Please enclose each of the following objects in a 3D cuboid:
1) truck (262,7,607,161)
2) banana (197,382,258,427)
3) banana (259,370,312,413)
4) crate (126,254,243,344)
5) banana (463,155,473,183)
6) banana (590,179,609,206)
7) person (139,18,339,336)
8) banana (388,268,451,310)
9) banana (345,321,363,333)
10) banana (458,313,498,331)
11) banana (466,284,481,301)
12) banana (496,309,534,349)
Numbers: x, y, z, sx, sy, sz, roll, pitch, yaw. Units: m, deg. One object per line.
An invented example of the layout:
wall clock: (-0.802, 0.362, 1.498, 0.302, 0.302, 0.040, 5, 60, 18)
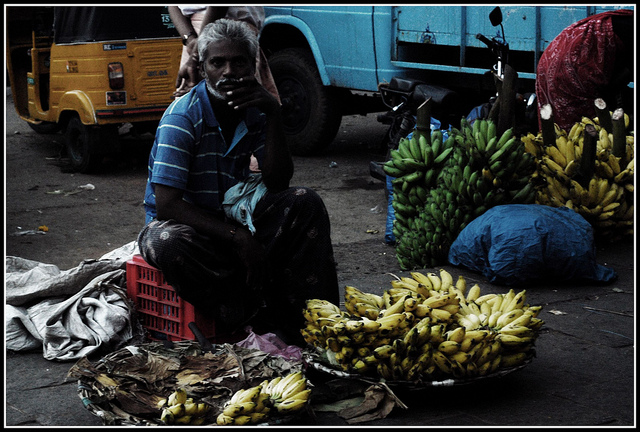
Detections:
truck: (1.003, -1.951, 8.026, 4.175, 2.030, 1.952, 10, 13, 34)
banana: (-0.432, 0.947, 2.841, 0.187, 0.242, 0.107, 52, 3, 38)
banana: (-0.158, 0.888, 2.894, 0.202, 0.065, 0.183, 1, 35, 8)
crate: (-0.928, 0.530, 3.735, 0.778, 0.510, 0.318, 9, 17, 39)
banana: (1.254, -0.393, 4.846, 0.060, 0.230, 0.088, 9, -7, 7)
banana: (2.611, -0.221, 5.375, 0.172, 0.247, 0.086, 4, 3, -7)
person: (-0.542, -0.196, 3.514, 1.147, 1.958, 0.585, -5, 14, -15)
banana: (0.579, 0.426, 3.359, 0.248, 0.094, 0.252, -19, 7, 3)
banana: (0.181, 0.586, 3.053, 0.072, 0.043, 0.060, 2, -1, 23)
banana: (0.902, 0.607, 3.287, 0.126, 0.034, 0.123, 1, 8, 31)
banana: (0.984, 0.477, 3.603, 0.141, 0.049, 0.052, -56, 10, -29)
banana: (1.089, 0.630, 3.214, 0.098, 0.123, 0.264, -18, -6, -13)
